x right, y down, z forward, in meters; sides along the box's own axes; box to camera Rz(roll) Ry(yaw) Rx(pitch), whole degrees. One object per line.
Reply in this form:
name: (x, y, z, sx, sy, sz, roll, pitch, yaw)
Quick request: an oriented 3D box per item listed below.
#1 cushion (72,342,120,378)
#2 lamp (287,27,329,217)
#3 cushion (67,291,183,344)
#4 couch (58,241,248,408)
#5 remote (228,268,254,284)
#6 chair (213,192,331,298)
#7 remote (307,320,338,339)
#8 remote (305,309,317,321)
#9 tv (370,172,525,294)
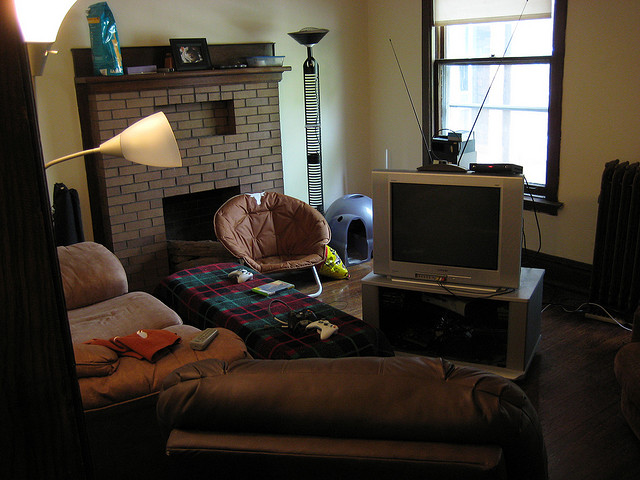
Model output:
cushion: (-0.936, 0.497, 2.187, 0.167, 0.119, 0.187, -7, 13, -24)
lamp: (-0.077, -1.098, 4.963, 0.327, 1.743, 0.444, -3, 12, -2)
cushion: (-1.214, 0.451, 3.112, 0.525, 0.171, 0.510, -8, 17, -34)
couch: (-0.863, 0.168, 2.484, 0.650, 0.460, 1.405, -12, 21, -32)
remote: (-0.546, 0.247, 3.614, 0.094, 0.053, 0.139, -5, 2, -35)
chair: (-0.422, 0.059, 4.368, 0.950, 0.562, 0.904, -1, 28, -11)
remote: (0.024, 0.476, 2.797, 0.092, 0.040, 0.112, -20, 22, -30)
remote: (-0.057, 0.427, 2.925, 0.051, 0.017, 0.047, 8, 36, -15)
tv: (0.897, -0.067, 3.253, 0.979, 0.719, 0.559, 8, 11, 44)
